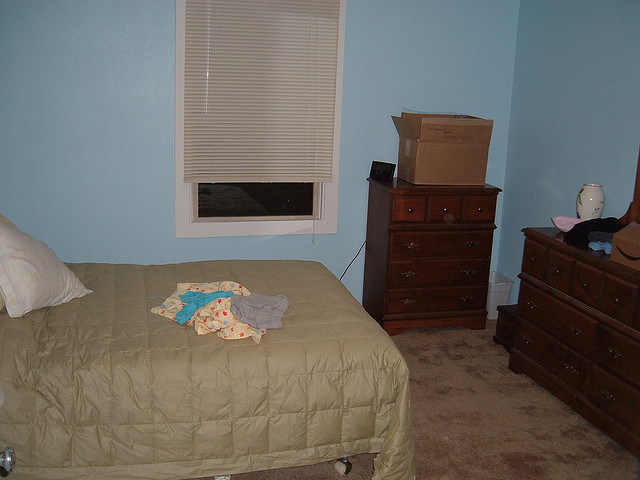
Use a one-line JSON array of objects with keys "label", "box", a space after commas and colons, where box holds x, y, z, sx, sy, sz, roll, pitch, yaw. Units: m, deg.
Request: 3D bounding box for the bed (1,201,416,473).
[{"label": "bed", "box": [-0.578, 0.704, 3.006, 2.211, 1.223, 1.482, -3, 23, -9]}]

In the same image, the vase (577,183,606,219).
[{"label": "vase", "box": [1.920, -0.255, 3.585, 0.261, 0.266, 0.264, 8, 6, 31]}]

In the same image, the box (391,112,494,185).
[{"label": "box", "box": [1.014, -0.760, 4.310, 0.764, 0.529, 0.412, -2, 15, -15]}]
